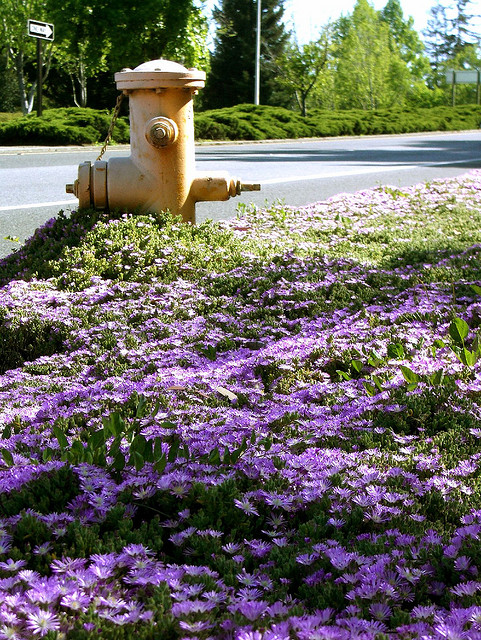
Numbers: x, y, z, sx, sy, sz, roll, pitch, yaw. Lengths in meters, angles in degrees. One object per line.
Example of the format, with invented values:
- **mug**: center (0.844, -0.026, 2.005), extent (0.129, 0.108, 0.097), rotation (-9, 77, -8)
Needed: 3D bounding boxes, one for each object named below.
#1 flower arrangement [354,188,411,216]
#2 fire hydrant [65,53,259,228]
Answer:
- **flower arrangement**: center (1.466, -1.216, 9.264), extent (0.600, 0.234, 1.708), rotation (2, 8, 9)
- **fire hydrant**: center (-0.640, -1.321, 6.683), extent (1.222, 1.256, 0.559), rotation (-1, 9, -10)
